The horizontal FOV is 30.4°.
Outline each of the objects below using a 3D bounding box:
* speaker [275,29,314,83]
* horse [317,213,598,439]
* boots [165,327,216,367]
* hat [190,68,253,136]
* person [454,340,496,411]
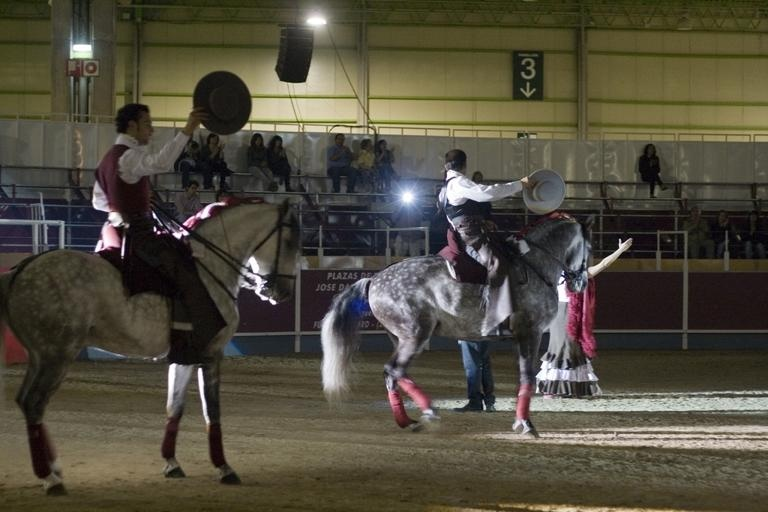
[{"bbox_3d":[-2.516,-5.788,40.334,1.023,1.539,0.616,0,6,1],"label":"speaker"},{"bbox_3d":[3.371,1.274,32.593,9.698,6.612,2.376,0,-4,-5],"label":"horse"},{"bbox_3d":[-3.677,1.739,26.977,0.883,0.729,0.580,-2,7,-11],"label":"boots"},{"bbox_3d":[-3.131,-2.986,27.417,1.088,1.194,0.426,-1,6,-5],"label":"hat"},{"bbox_3d":[2.031,2.262,30.564,0.757,2.205,0.612,-3,2,-18],"label":"person"}]
